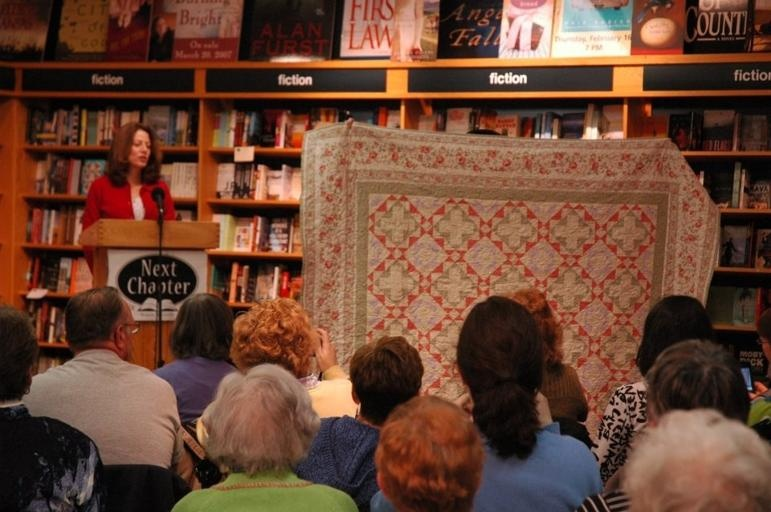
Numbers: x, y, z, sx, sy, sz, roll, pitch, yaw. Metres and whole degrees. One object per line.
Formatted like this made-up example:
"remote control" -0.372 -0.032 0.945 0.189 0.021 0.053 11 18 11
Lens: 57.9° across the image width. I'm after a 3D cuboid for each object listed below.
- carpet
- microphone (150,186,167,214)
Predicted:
"carpet" 0.683 0.127 4.107 2.402 1.629 0.110 1 -9 -1
"microphone" -1.319 -0.321 4.018 0.071 0.176 0.170 5 -7 -19
